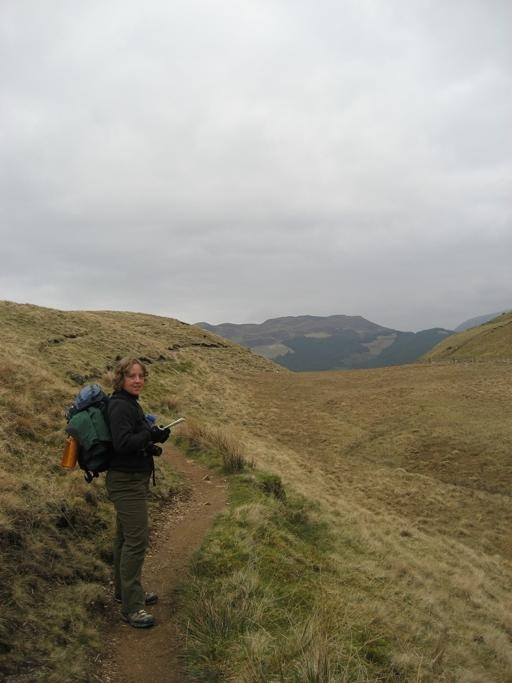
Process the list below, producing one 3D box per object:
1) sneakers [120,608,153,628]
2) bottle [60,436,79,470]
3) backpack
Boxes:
[{"bbox_3d":[-1.157,2.741,5.335,0.343,0.153,0.142,-2,-8,16],"label":"sneakers"},{"bbox_3d":[-1.857,1.108,5.340,0.160,0.291,0.395,-10,5,-21],"label":"bottle"},{"bbox_3d":[-1.668,0.934,5.363,0.528,0.839,0.490,-9,5,-15],"label":"backpack"}]
